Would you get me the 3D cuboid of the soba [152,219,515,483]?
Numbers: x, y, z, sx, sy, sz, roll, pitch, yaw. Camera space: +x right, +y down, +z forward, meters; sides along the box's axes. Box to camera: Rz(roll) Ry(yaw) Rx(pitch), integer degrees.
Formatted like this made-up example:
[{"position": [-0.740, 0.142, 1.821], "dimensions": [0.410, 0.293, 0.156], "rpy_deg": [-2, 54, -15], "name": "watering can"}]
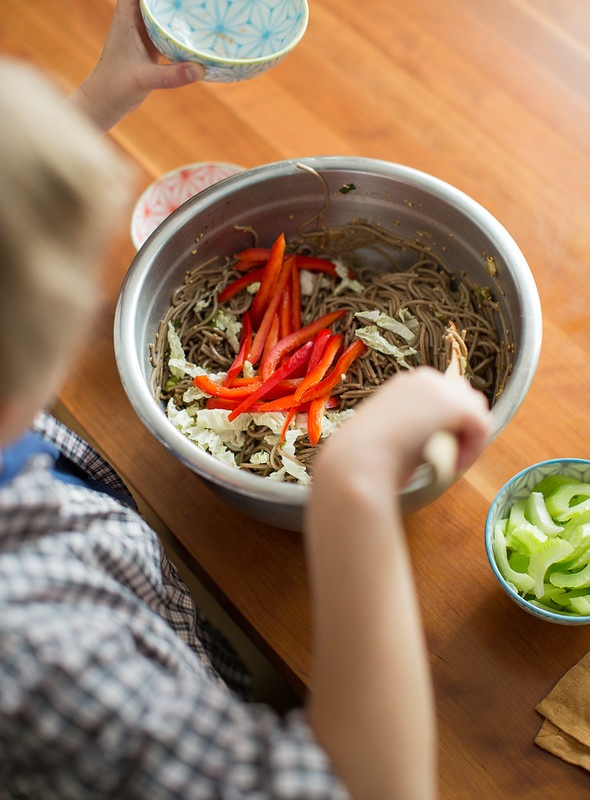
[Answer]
[{"position": [0.064, -0.066, 1.219], "dimensions": [0.483, 0.178, 0.437], "rpy_deg": [16, 57, 20], "name": "soba"}]
